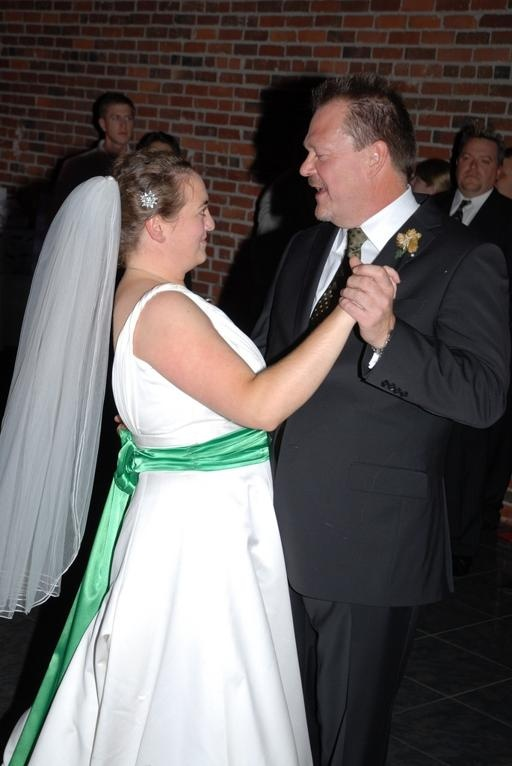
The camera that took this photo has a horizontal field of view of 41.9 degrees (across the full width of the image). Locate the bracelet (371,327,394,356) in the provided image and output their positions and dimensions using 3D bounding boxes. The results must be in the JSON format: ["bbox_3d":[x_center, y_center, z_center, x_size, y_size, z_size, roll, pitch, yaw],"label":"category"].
[{"bbox_3d":[0.242,-0.079,1.291,0.018,0.046,0.035,31,2,-1],"label":"bracelet"}]
